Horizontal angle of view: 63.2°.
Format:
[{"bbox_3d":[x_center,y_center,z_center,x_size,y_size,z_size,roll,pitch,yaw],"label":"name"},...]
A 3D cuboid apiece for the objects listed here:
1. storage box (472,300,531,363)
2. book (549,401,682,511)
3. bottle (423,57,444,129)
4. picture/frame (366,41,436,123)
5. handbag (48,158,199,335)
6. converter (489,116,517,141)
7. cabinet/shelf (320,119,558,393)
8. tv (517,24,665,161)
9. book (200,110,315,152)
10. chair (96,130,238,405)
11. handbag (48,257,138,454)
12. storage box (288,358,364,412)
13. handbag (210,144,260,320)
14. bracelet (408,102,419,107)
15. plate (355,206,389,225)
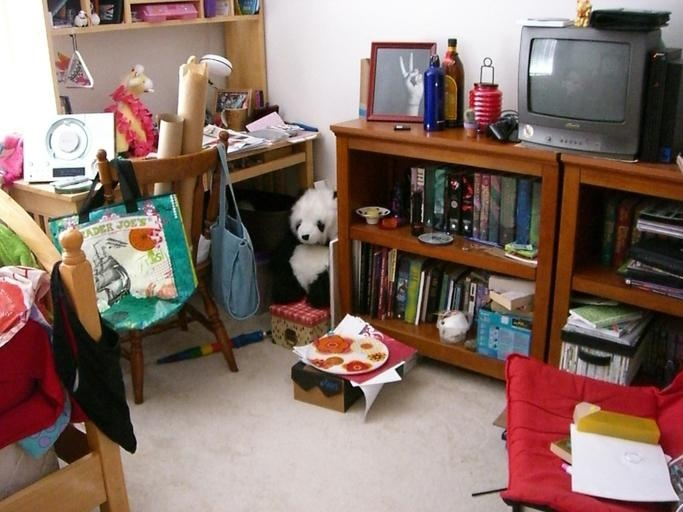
[{"bbox_3d":[0.695,0.327,2.375,0.221,0.211,0.128,14,24,34],"label":"storage box"},{"bbox_3d":[0.778,0.541,1.536,0.212,0.080,0.238,5,41,9],"label":"book"},{"bbox_3d":[0.404,-0.685,2.422,0.087,0.256,0.109,2,24,8],"label":"bottle"},{"bbox_3d":[0.293,-0.815,2.625,0.403,0.465,0.043,6,3,21],"label":"picture/frame"},{"bbox_3d":[-0.848,-0.058,2.130,0.477,0.669,0.251,-29,30,-29],"label":"handbag"},{"bbox_3d":[0.681,-0.539,2.325,0.108,0.077,0.191,8,27,19],"label":"converter"},{"bbox_3d":[0.460,0.013,2.459,0.974,0.944,0.375,18,30,35],"label":"cabinet/shelf"},{"bbox_3d":[0.938,-0.614,2.264,0.603,0.580,0.468,17,28,38],"label":"tv"},{"bbox_3d":[-0.453,-0.674,3.024,0.234,0.085,0.360,17,36,27],"label":"book"},{"bbox_3d":[-0.912,-0.002,2.629,0.765,1.135,0.794,1,15,7],"label":"chair"},{"bbox_3d":[-0.709,0.316,1.573,0.166,0.601,0.151,-11,26,-21],"label":"handbag"},{"bbox_3d":[-0.080,0.574,2.383,0.218,0.137,0.220,12,19,28],"label":"storage box"},{"bbox_3d":[-0.497,-0.107,2.459,0.194,0.757,0.294,-21,30,-37],"label":"handbag"},{"bbox_3d":[0.345,-0.717,2.625,0.050,0.026,0.014,7,25,17],"label":"bracelet"},{"bbox_3d":[0.149,-0.208,2.699,0.102,0.039,0.104,13,24,32],"label":"plate"}]
